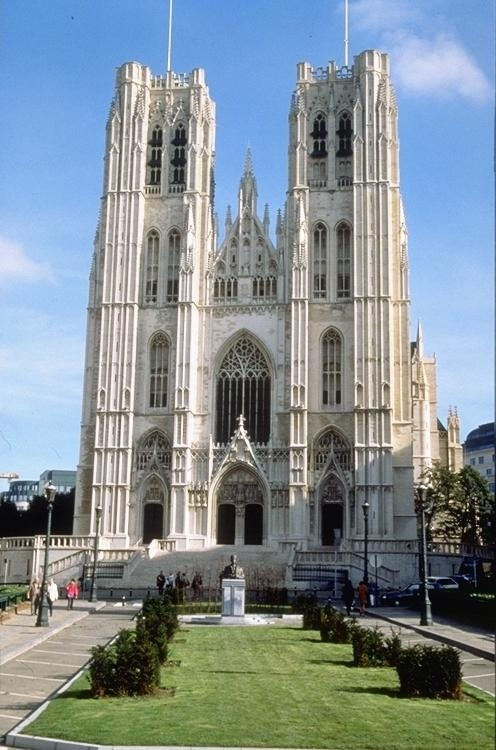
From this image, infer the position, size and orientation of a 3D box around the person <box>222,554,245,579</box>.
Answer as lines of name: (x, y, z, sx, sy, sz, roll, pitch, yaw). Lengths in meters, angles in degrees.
person: (-0.481, 6.711, 25.901, 0.619, 0.739, 1.318, 0, -12, 1)
